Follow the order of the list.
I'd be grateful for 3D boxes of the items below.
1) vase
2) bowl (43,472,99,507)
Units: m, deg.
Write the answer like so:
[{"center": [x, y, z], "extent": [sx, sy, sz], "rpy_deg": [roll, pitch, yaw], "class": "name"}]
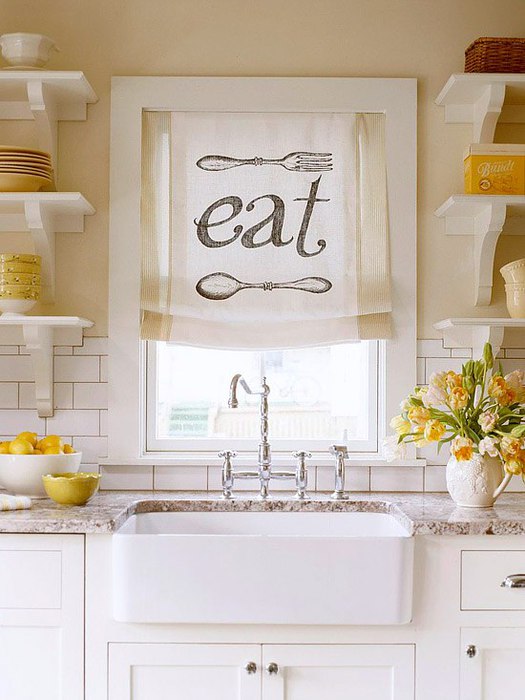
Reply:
[{"center": [0.598, 0.367, 2.411], "extent": [0.166, 0.148, 0.163], "rpy_deg": [0, -5, 9], "class": "vase"}, {"center": [-0.529, 0.388, 2.390], "extent": [0.147, 0.086, 0.115], "rpy_deg": [3, -6, -29], "class": "bowl"}]
